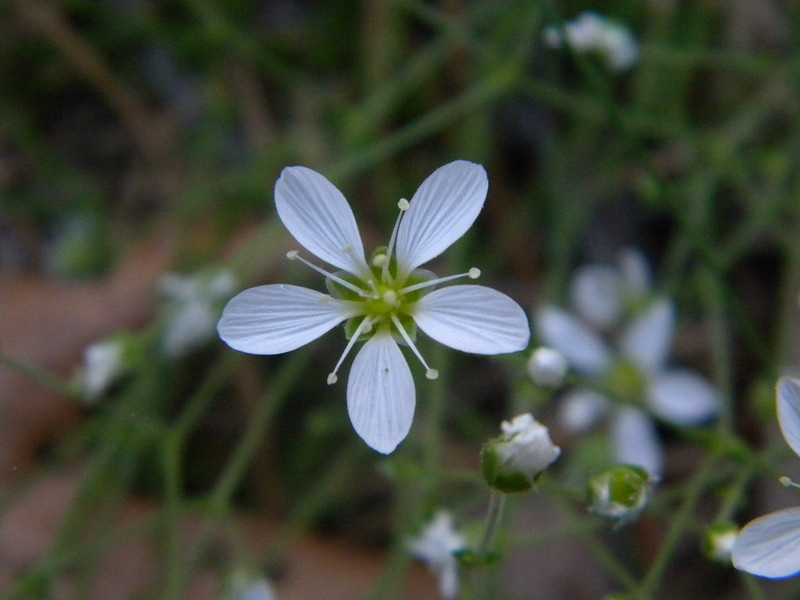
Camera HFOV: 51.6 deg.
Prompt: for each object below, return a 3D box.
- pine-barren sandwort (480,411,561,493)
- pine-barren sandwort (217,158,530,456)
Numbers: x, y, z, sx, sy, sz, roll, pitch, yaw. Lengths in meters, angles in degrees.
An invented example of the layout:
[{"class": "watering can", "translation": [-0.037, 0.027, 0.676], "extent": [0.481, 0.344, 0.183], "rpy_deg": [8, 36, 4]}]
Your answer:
[{"class": "pine-barren sandwort", "translation": [0.343, 0.437, 2.330], "extent": [0.259, 0.241, 0.172], "rpy_deg": [0, 15, 2]}, {"class": "pine-barren sandwort", "translation": [-0.059, -0.010, 2.466], "extent": [0.852, 0.919, 0.337], "rpy_deg": [6, -8, 8]}]
